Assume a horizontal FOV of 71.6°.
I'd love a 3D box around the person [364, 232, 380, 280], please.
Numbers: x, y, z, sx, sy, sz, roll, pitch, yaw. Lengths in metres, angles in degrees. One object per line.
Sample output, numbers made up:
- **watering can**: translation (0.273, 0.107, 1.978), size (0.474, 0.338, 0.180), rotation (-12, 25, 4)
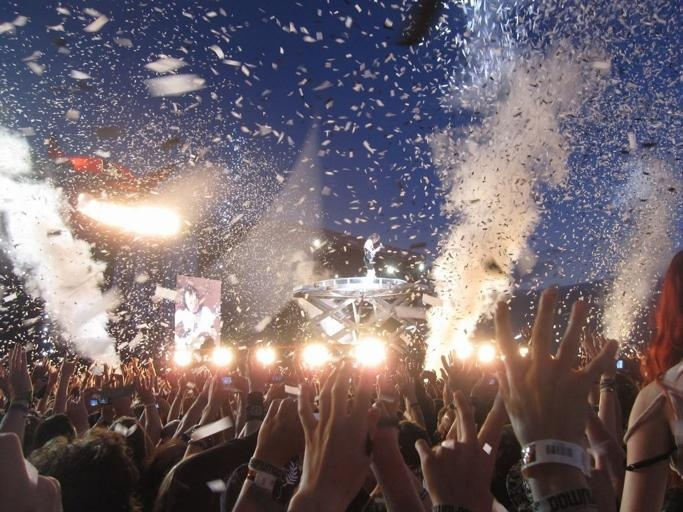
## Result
- **person**: translation (1.009, 0.101, 15.720), size (0.535, 0.540, 1.684), rotation (9, -66, 13)
